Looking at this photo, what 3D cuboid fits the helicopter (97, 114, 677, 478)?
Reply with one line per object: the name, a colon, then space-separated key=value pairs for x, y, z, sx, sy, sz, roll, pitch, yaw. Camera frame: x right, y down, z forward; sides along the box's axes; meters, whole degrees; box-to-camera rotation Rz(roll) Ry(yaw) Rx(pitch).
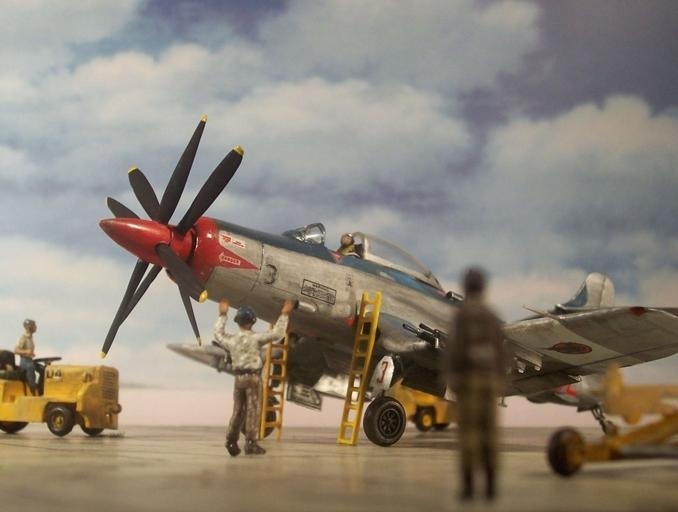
helicopter: x=0.746 y=0.952 z=26.688 sx=12.718 sy=7.120 sz=4.827 roll=3 pitch=-14 yaw=-8
